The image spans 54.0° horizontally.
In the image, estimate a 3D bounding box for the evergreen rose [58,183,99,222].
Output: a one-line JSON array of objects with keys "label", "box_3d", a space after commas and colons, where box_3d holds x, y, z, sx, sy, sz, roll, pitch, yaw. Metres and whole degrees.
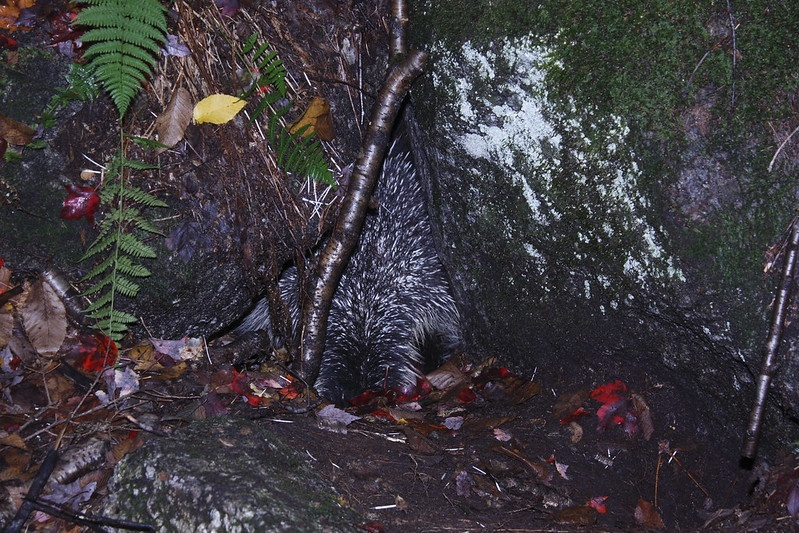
[{"label": "evergreen rose", "box_3d": [-2.664, -0.500, 6.560, 0.389, 0.107, 0.364, -33, -13, 0]}]
